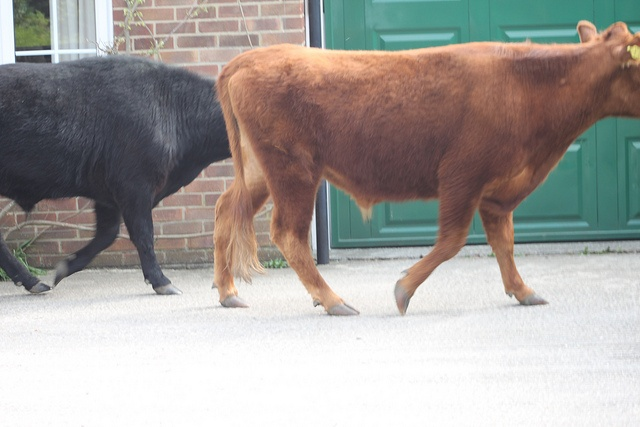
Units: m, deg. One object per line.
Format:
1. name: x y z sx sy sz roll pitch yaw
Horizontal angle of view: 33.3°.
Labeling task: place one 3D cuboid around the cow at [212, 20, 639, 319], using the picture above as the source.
1. cow: 0.718 -0.365 7.954 2.199 1.556 0.683 0 -3 6
